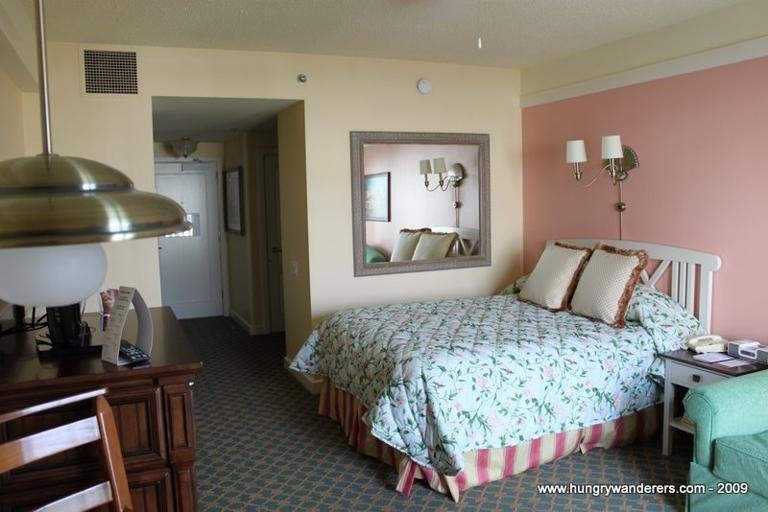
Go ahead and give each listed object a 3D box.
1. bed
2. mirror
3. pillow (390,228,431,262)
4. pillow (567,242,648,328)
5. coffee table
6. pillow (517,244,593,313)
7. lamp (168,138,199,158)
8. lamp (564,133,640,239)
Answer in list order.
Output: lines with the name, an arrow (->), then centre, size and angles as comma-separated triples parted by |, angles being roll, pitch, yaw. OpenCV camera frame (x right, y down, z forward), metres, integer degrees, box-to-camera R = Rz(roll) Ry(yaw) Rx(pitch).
bed -> 1.108, 0.852, 4.466 | 2.582, 1.316, 1.924 | -9, 13, -30
mirror -> 0.327, -0.585, 5.699 | 1.545, 1.437, 0.077 | -5, 9, -22
pillow -> 0.224, -0.112, 5.704 | 0.319, 0.362, 0.106 | 17, -1, -19
pillow -> 1.897, 0.236, 4.588 | 0.196, 0.646, 0.663 | 24, 6, -22
coffee table -> 2.498, 1.118, 4.397 | 0.778, 1.004, 0.762 | -2, 4, -26
pillow -> 1.648, 0.223, 5.042 | 0.166, 0.587, 0.611 | 27, -1, -21
lamp -> -2.894, -1.560, 7.795 | 0.353, 0.222, 0.306 | -1, -2, 40
lamp -> 2.026, -0.646, 5.153 | 0.383, 0.971, 0.642 | -9, 13, -34
